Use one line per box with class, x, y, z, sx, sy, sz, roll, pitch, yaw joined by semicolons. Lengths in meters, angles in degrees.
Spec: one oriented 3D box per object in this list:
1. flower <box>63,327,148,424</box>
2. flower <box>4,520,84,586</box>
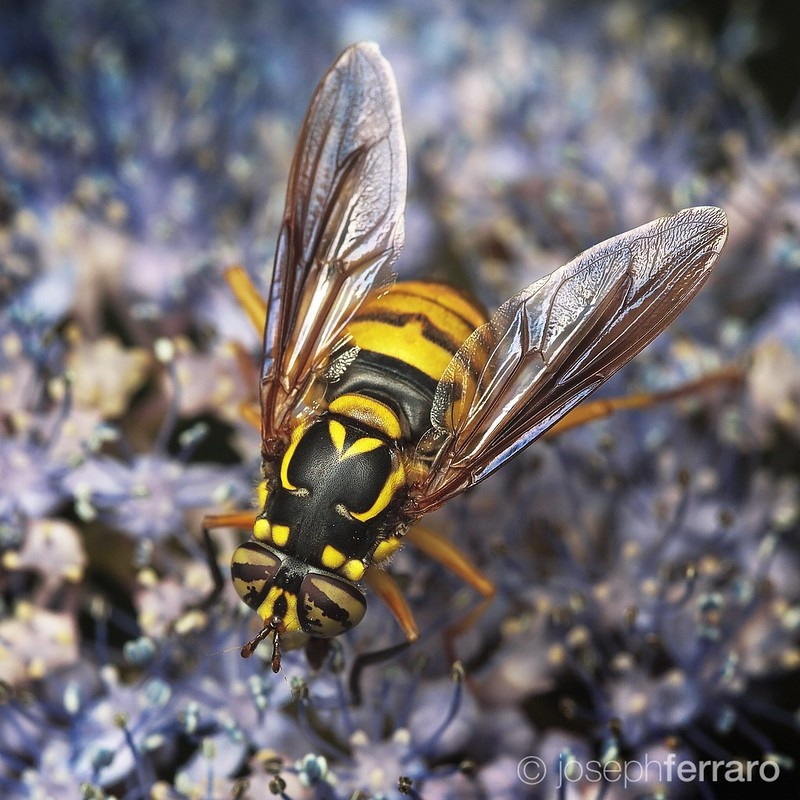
flower;-0.593;-0.047;2.417;0.156;0.043;0.168;22;72;2
flower;-0.645;0.281;2.249;0.136;0.027;0.117;25;72;3
